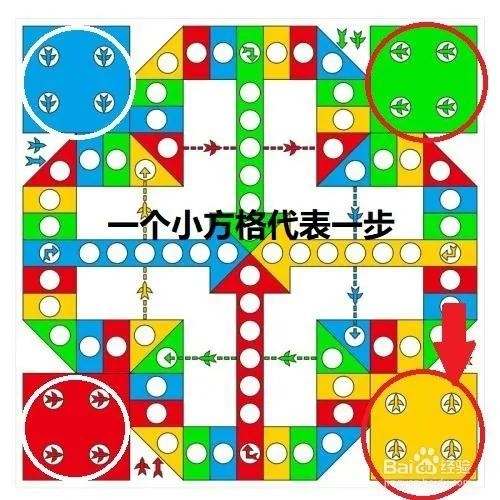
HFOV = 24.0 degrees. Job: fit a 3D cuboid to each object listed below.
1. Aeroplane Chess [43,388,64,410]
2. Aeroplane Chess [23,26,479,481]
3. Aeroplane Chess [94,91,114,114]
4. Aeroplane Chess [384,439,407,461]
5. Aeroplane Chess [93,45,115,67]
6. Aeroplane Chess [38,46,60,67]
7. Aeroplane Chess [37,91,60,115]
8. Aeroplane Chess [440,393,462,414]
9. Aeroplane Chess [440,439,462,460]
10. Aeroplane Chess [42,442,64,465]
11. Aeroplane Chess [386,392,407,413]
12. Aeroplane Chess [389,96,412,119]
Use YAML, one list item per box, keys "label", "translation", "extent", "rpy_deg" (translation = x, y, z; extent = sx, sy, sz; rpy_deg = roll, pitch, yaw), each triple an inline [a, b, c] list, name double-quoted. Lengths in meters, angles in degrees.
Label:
- label: "Aeroplane Chess"
  translation: [-0.600, 0.453, 3.579]
  extent: [0.060, 0.013, 0.064]
  rpy_deg: [2, -87, 1]
- label: "Aeroplane Chess"
  translation: [0.002, 0.046, 3.567]
  extent: [1.390, 0.014, 1.376]
  rpy_deg: [-1, -89, 2]
- label: "Aeroplane Chess"
  translation: [-0.445, -0.454, 3.581]
  extent: [0.059, 0.001, 0.062]
  rpy_deg: [-7, -95, 0]
- label: "Aeroplane Chess"
  translation: [0.441, 0.611, 3.582]
  extent: [0.056, 0.001, 0.059]
  rpy_deg: [9, -91, 0]
- label: "Aeroplane Chess"
  translation: [-0.445, -0.595, 3.584]
  extent: [0.060, 0.001, 0.063]
  rpy_deg: [-4, -93, 3]
- label: "Aeroplane Chess"
  translation: [-0.615, -0.594, 3.586]
  extent: [0.058, 0.001, 0.061]
  rpy_deg: [4, -86, 3]
- label: "Aeroplane Chess"
  translation: [-0.615, -0.452, 3.586]
  extent: [0.067, 0.001, 0.071]
  rpy_deg: [1, -90, -1]
- label: "Aeroplane Chess"
  translation: [0.614, 0.465, 3.578]
  extent: [0.062, 0.003, 0.072]
  rpy_deg: [0, -89, 0]
- label: "Aeroplane Chess"
  translation: [0.615, 0.608, 3.581]
  extent: [0.061, 0.002, 0.068]
  rpy_deg: [0, -92, 0]
- label: "Aeroplane Chess"
  translation: [-0.602, 0.621, 3.581]
  extent: [0.060, 0.013, 0.063]
  rpy_deg: [2, -92, 10]
- label: "Aeroplane Chess"
  translation: [0.442, 0.462, 3.578]
  extent: [0.052, 0.003, 0.057]
  rpy_deg: [11, -86, -9]
- label: "Aeroplane Chess"
  translation: [0.456, -0.439, 3.584]
  extent: [0.064, 0.001, 0.067]
  rpy_deg: [1, -87, -10]
